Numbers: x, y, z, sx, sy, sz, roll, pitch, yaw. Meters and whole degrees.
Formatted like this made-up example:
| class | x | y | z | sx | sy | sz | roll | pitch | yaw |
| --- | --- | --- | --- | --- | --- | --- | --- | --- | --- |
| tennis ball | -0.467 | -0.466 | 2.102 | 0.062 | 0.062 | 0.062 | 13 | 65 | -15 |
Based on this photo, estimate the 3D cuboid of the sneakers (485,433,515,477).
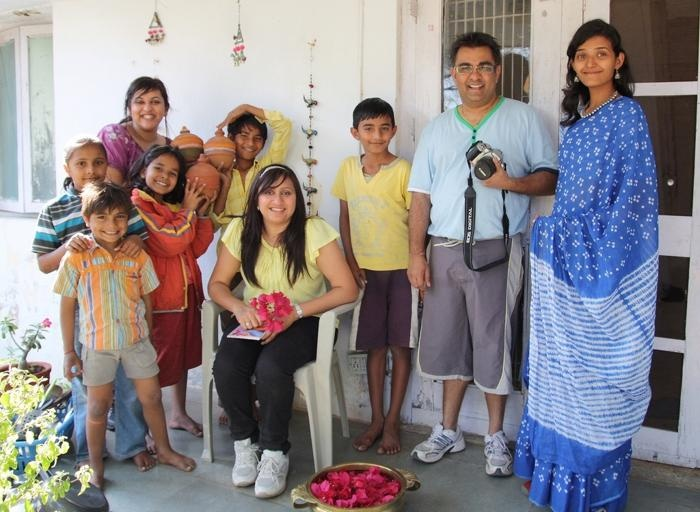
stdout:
| class | x | y | z | sx | sy | sz | roll | pitch | yaw |
| --- | --- | --- | --- | --- | --- | --- | --- | --- | --- |
| sneakers | 0.785 | 1.022 | 3.190 | 0.147 | 0.212 | 0.212 | 0 | 7 | 14 |

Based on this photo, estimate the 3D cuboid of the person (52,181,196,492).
| class | x | y | z | sx | sy | sz | roll | pitch | yaw |
| --- | --- | --- | --- | --- | --- | --- | --- | --- | --- |
| person | -1.179 | 0.390 | 3.101 | 0.558 | 1.537 | 0.290 | -5 | 8 | -27 |

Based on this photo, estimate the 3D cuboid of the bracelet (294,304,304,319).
| class | x | y | z | sx | sy | sz | roll | pitch | yaw |
| --- | --- | --- | --- | --- | --- | --- | --- | --- | --- |
| bracelet | -0.262 | 0.285 | 3.129 | 0.042 | 0.066 | 0.066 | -11 | -34 | -8 |

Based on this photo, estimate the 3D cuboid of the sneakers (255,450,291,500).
| class | x | y | z | sx | sy | sz | roll | pitch | yaw |
| --- | --- | --- | --- | --- | --- | --- | --- | --- | --- |
| sneakers | -0.388 | 1.070 | 3.035 | 0.128 | 0.156 | 0.345 | 1 | 13 | 8 |

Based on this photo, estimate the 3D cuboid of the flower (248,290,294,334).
| class | x | y | z | sx | sy | sz | roll | pitch | yaw |
| --- | --- | --- | --- | --- | --- | --- | --- | --- | --- |
| flower | -0.380 | 0.280 | 3.106 | 0.193 | 0.198 | 0.198 | -22 | -32 | -15 |

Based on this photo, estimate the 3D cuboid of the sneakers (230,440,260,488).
| class | x | y | z | sx | sy | sz | roll | pitch | yaw |
| --- | --- | --- | --- | --- | --- | --- | --- | --- | --- |
| sneakers | -0.527 | 1.054 | 3.068 | 0.106 | 0.125 | 0.275 | -2 | 19 | -4 |

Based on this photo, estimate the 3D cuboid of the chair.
| class | x | y | z | sx | sy | sz | roll | pitch | yaw |
| --- | --- | --- | --- | --- | --- | --- | --- | --- | --- |
| chair | -0.471 | 0.618 | 3.605 | 0.904 | 1.184 | 0.871 | 1 | 3 | 26 |

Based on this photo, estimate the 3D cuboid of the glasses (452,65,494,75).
| class | x | y | z | sx | sy | sz | roll | pitch | yaw |
| --- | --- | --- | --- | --- | --- | --- | --- | --- | --- |
| glasses | 0.631 | -0.939 | 3.040 | 0.190 | 0.052 | 0.041 | -1 | 7 | 7 |

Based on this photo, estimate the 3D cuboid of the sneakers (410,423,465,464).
| class | x | y | z | sx | sy | sz | roll | pitch | yaw |
| --- | --- | --- | --- | --- | --- | --- | --- | --- | --- |
| sneakers | 0.487 | 1.020 | 3.331 | 0.348 | 0.151 | 0.127 | -9 | 10 | -30 |

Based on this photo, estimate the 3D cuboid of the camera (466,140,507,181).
| class | x | y | z | sx | sy | sz | roll | pitch | yaw |
| --- | --- | --- | --- | --- | --- | --- | --- | --- | --- |
| camera | 0.643 | -0.479 | 3.045 | 0.165 | 0.168 | 0.186 | -39 | 21 | -27 |
